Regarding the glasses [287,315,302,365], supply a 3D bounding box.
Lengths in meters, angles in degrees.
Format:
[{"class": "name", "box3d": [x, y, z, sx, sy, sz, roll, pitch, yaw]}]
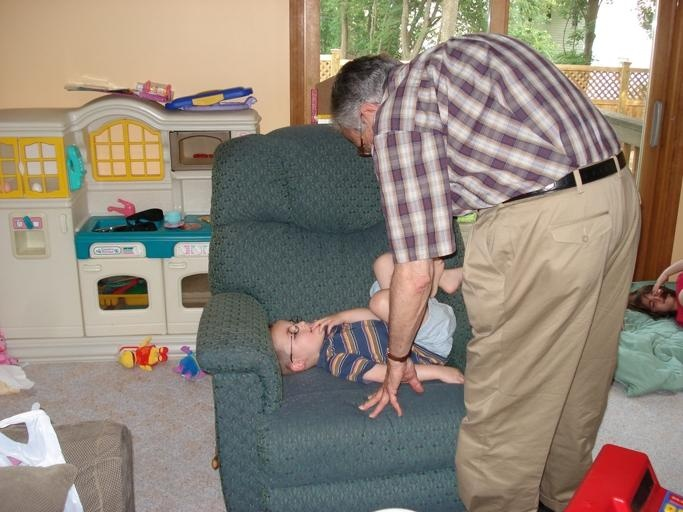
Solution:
[{"class": "glasses", "box3d": [-0.180, 0.312, 2.102, 0.035, 0.113, 0.112, -3, 4, -8]}]

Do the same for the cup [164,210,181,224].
[{"class": "cup", "box3d": [-0.925, -0.209, 3.102, 0.065, 0.053, 0.081, 1, 4, -33]}]

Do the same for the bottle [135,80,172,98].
[{"class": "bottle", "box3d": [-1.000, -0.880, 3.065, 0.111, 0.054, 0.144, 12, 6, 7]}]
